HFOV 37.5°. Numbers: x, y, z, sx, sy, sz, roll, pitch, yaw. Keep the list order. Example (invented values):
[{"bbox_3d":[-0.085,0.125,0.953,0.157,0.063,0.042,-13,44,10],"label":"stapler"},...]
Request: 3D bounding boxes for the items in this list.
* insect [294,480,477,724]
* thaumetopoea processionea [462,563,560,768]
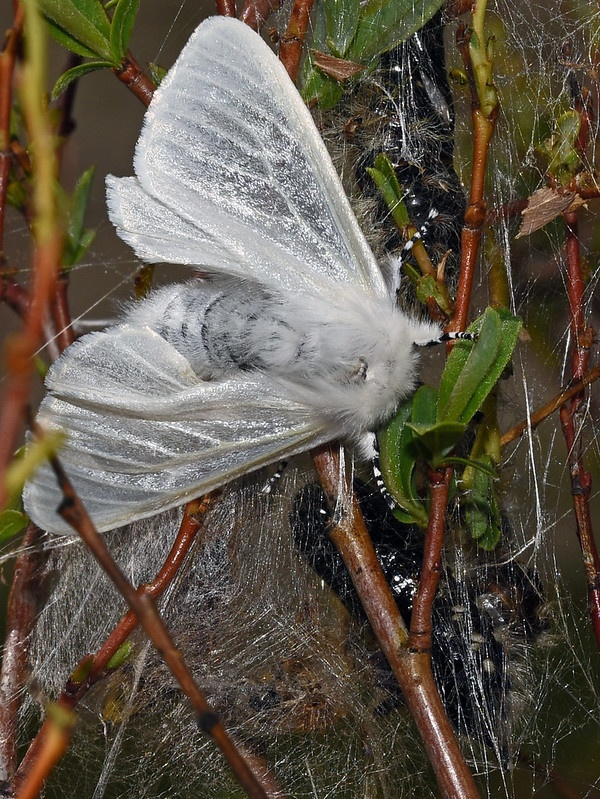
[{"bbox_3d":[0.121,0.271,1.191,0.360,0.255,0.246,-7,32,-9],"label":"insect"},{"bbox_3d":[0.277,0.349,1.197,0.181,0.064,0.250,1,74,2],"label":"thaumetopoea processionea"}]
